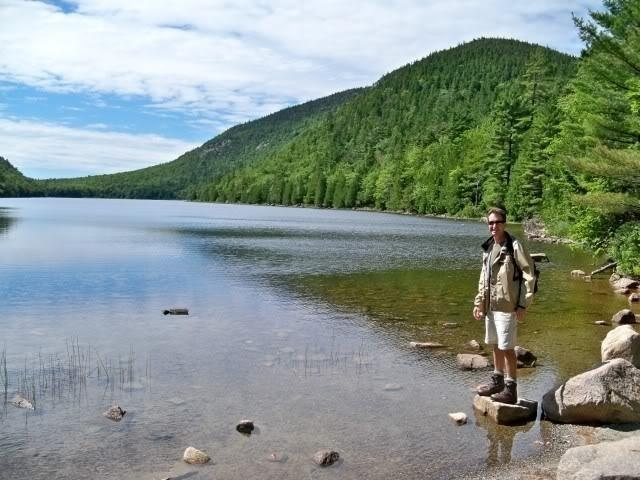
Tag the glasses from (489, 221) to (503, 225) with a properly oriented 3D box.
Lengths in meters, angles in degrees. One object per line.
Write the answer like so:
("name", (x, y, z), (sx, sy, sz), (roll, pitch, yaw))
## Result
("glasses", (3.897, -0.363, 12.565), (0.296, 0.102, 0.151), (0, 5, 20))
